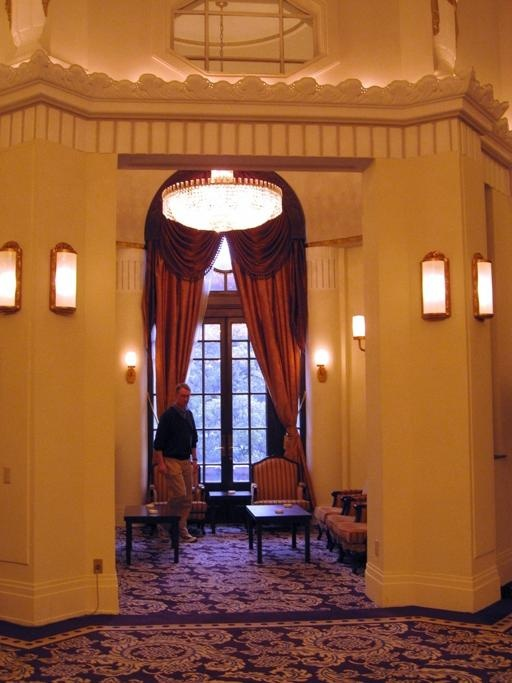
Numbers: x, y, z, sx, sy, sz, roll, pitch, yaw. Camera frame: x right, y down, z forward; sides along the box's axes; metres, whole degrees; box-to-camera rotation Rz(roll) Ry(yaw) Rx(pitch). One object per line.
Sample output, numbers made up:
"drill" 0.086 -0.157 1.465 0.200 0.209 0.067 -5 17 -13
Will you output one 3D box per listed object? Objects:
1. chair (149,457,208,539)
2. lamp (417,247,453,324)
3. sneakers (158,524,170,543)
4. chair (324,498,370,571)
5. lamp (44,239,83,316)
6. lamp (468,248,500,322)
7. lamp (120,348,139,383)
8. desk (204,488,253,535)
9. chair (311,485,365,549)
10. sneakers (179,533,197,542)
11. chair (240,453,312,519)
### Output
"chair" -0.920 1.876 8.599 0.777 1.083 0.897 -9 -19 20
"lamp" 1.332 -0.402 5.368 0.180 0.567 0.118 -3 -22 19
"sneakers" -1.064 2.220 8.202 0.150 0.226 0.127 1 -2 5
"chair" 0.877 1.831 7.029 0.257 0.420 0.874 25 2 -14
"lamp" -1.370 -0.449 5.094 0.190 0.499 0.108 1 -5 -30
"lamp" 1.707 -0.414 5.422 0.109 0.494 0.253 -5 -5 33
"lamp" -1.574 0.332 8.937 0.187 0.436 0.101 -2 -5 -8
"desk" -0.365 2.123 8.928 0.429 0.522 0.493 1 -11 -6
"chair" 0.972 1.860 7.686 0.581 0.820 0.603 5 -9 -14
"sneakers" -0.762 2.221 8.055 0.177 0.100 0.081 -3 -8 14
"chair" 0.288 1.813 8.831 0.540 0.972 0.488 1 -14 -4
